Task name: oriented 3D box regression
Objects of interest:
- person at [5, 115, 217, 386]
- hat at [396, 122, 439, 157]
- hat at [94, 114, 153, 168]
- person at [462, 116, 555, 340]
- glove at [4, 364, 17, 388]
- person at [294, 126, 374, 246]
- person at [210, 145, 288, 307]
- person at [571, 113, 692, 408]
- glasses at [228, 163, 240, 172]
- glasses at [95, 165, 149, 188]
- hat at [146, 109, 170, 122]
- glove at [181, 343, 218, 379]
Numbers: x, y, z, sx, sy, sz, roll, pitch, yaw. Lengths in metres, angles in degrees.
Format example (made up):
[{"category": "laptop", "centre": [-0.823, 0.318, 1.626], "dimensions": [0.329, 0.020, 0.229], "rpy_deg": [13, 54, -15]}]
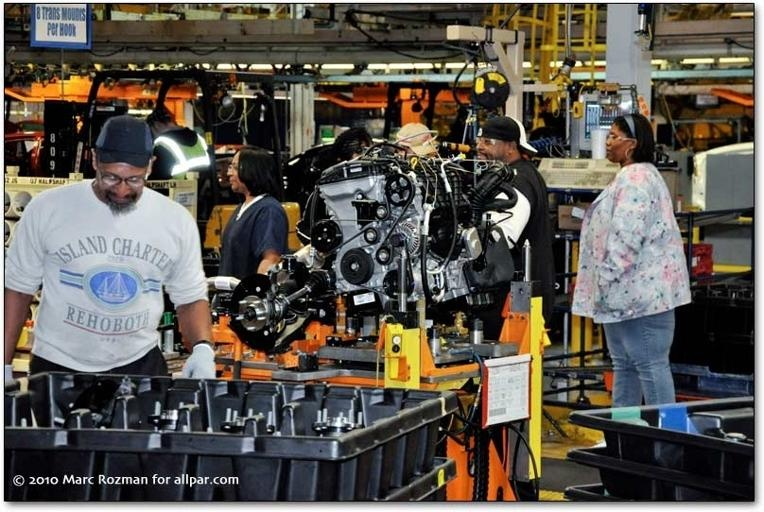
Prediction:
[{"category": "person", "centre": [-1.774, -0.051, 8.727], "dimensions": [1.316, 1.697, 0.445], "rpy_deg": [-1, 2, -13]}, {"category": "hat", "centre": [0.252, -1.010, 11.055], "dimensions": [0.273, 0.142, 0.189], "rpy_deg": [5, 26, 38]}, {"category": "hat", "centre": [-1.647, -0.729, 8.616], "dimensions": [0.357, 0.339, 0.202], "rpy_deg": [-1, 2, -11]}, {"category": "person", "centre": [1.024, -0.245, 10.393], "dimensions": [0.587, 1.686, 0.929], "rpy_deg": [-1, 2, 6]}, {"category": "glove", "centre": [-2.292, 0.731, 8.402], "dimensions": [0.113, 0.137, 0.112], "rpy_deg": [1, -5, -23]}, {"category": "person", "centre": [-0.419, -0.575, 10.197], "dimensions": [0.428, 0.930, 0.620], "rpy_deg": [17, -1, -12]}, {"category": "person", "centre": [-0.975, -0.337, 10.513], "dimensions": [0.424, 1.008, 0.607], "rpy_deg": [-2, 2, -36]}, {"category": "person", "centre": [1.912, 0.033, 10.408], "dimensions": [0.870, 2.255, 0.515], "rpy_deg": [-1, 2, 12]}, {"category": "glasses", "centre": [-1.155, -0.692, 10.604], "dimensions": [0.069, 0.050, 0.088], "rpy_deg": [5, 6, -16]}, {"category": "glasses", "centre": [-1.666, -0.507, 8.634], "dimensions": [0.316, 0.157, 0.153], "rpy_deg": [-1, 2, -11]}, {"category": "hat", "centre": [-2.499, -1.551, 14.990], "dimensions": [0.177, 0.089, 0.248], "rpy_deg": [-11, 11, -36]}, {"category": "glove", "centre": [-1.186, 0.678, 8.831], "dimensions": [0.210, 0.287, 0.102], "rpy_deg": [-2, -35, -6]}]
